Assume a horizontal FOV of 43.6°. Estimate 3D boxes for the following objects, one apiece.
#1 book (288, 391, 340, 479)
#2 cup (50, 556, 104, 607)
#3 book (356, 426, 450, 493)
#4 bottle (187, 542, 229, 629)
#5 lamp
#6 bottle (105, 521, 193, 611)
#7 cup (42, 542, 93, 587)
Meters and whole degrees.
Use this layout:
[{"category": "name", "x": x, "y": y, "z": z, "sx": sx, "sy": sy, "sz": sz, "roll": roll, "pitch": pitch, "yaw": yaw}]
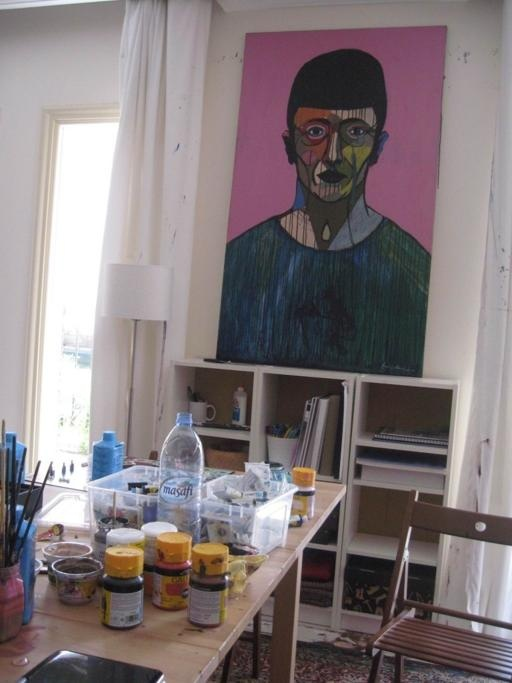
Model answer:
[{"category": "book", "x": 0.226, "y": 0.381, "z": 2.567, "sx": 0.076, "sy": 0.309, "sz": 0.203, "roll": 4, "pitch": 0, "yaw": 1}, {"category": "cup", "x": -0.316, "y": 0.419, "z": 1.125, "sx": 0.057, "sy": 0.048, "sz": 0.064, "roll": 2, "pitch": -5, "yaw": 2}, {"category": "book", "x": 0.577, "y": 0.465, "z": 2.567, "sx": 0.350, "sy": 0.234, "sz": 0.325, "roll": 5, "pitch": 2, "yaw": 16}, {"category": "bottle", "x": -0.082, "y": 0.397, "z": 1.084, "sx": 0.065, "sy": 0.111, "sz": 0.137, "roll": 4, "pitch": 2, "yaw": -1}, {"category": "lamp", "x": -0.551, "y": 0.101, "z": 2.887, "sx": 0.286, "sy": 0.688, "sz": 0.445, "roll": 3, "pitch": 1, "yaw": -10}, {"category": "bottle", "x": -0.163, "y": 0.372, "z": 1.105, "sx": 0.153, "sy": 0.166, "sz": 0.092, "roll": 1, "pitch": 3, "yaw": 10}, {"category": "cup", "x": -0.379, "y": 0.423, "z": 1.242, "sx": 0.060, "sy": 0.044, "sz": 0.061, "roll": 3, "pitch": 11, "yaw": -1}]
